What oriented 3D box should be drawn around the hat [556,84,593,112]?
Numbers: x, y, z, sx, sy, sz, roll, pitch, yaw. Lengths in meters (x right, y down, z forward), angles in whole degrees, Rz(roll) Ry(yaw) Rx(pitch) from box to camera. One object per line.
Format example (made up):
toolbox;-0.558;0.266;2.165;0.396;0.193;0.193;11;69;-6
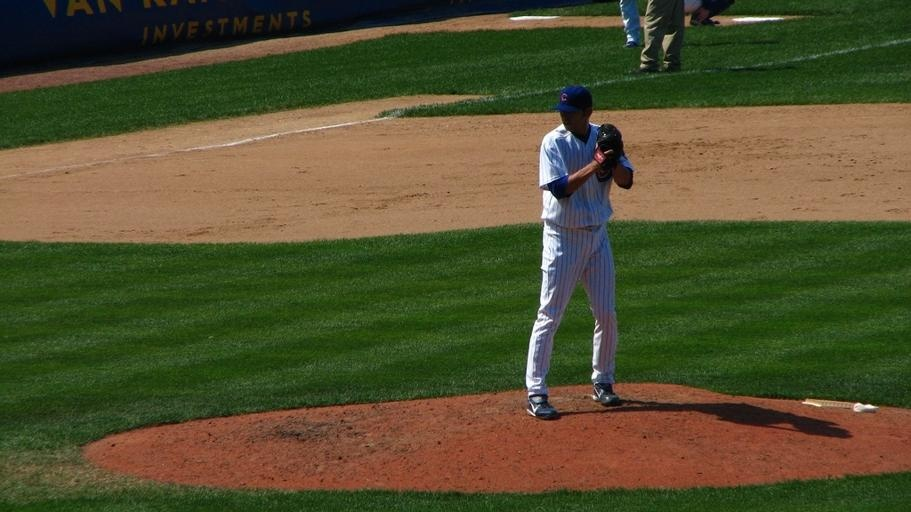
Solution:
hat;2.000;-2.655;29.324;0.600;0.399;0.352;-3;18;2
